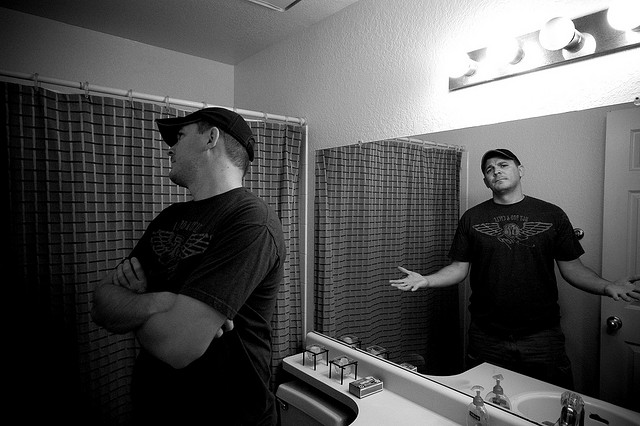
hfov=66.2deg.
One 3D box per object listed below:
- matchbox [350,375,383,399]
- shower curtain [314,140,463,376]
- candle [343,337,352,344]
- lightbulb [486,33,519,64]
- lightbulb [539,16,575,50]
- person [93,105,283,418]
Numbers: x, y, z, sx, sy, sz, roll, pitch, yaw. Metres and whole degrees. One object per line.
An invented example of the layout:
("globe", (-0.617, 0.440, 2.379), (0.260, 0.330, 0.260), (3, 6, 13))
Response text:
("matchbox", (0.254, 0.925, 2.630), (0.114, 0.064, 0.190), (4, 11, 43))
("shower curtain", (0.356, 0.205, 2.765), (0.996, 1.222, 0.224), (4, 11, 45))
("candle", (0.163, 0.755, 2.908), (0.026, 0.032, 0.046), (14, -23, -37))
("lightbulb", (0.873, -0.775, 2.391), (0.152, 0.152, 0.155), (-19, 17, 34))
("lightbulb", (1.046, -0.790, 2.194), (0.143, 0.142, 0.103), (17, 17, 42))
("person", (-0.546, 0.250, 2.116), (0.776, 1.401, 0.485), (-5, 8, -6))
